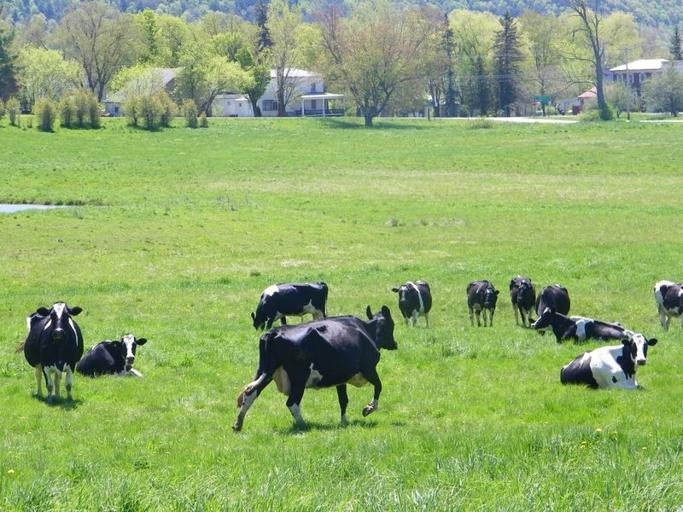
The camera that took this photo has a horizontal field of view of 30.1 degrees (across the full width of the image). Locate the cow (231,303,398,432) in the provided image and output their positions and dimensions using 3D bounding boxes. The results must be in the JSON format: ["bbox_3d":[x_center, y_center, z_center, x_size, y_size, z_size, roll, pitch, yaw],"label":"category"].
[{"bbox_3d":[-0.730,6.922,75.254,10.977,7.462,2.684,-3,5,-37],"label":"cow"}]

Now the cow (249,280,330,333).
[{"bbox_3d":[-3.477,3.831,81.819,5.272,4.186,3.047,0,1,-40],"label":"cow"}]

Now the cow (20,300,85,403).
[{"bbox_3d":[-17.327,5.584,76.160,2.377,4.959,6.088,-1,3,-21],"label":"cow"}]

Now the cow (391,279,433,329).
[{"bbox_3d":[4.989,2.898,85.743,1.993,3.471,2.228,0,8,17],"label":"cow"}]

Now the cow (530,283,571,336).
[{"bbox_3d":[14.114,3.440,84.700,2.019,3.924,6.318,13,-2,5],"label":"cow"}]

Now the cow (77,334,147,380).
[{"bbox_3d":[-13.961,6.085,77.936,4.258,2.609,2.115,-12,-8,30],"label":"cow"}]

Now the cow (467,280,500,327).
[{"bbox_3d":[9.416,3.089,85.657,2.122,2.986,2.474,-8,16,-28],"label":"cow"}]
